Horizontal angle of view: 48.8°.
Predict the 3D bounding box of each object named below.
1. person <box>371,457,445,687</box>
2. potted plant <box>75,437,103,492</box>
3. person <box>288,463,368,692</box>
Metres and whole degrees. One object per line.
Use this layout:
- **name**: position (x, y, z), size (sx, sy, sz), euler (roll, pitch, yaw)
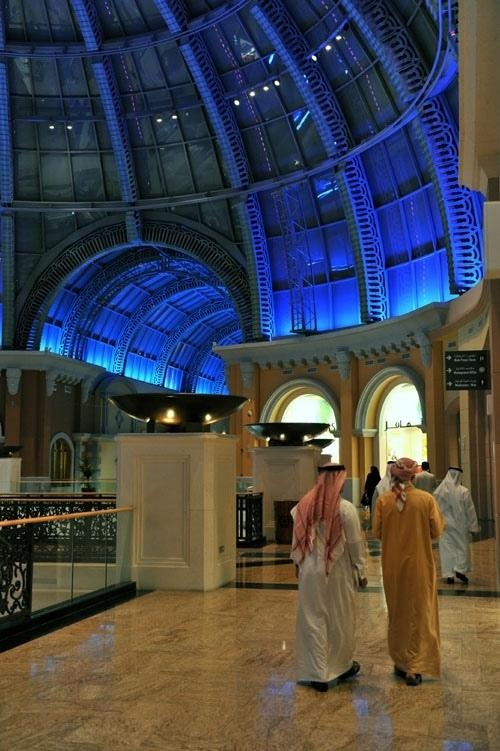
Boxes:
- **person**: position (0.988, 1.253, 3.503), size (0.419, 1.206, 0.388), euler (-4, -8, 22)
- **potted plant**: position (-6.987, 4.277, 23.658), size (0.764, 1.659, 0.860), euler (-11, -20, -5)
- **person**: position (0.482, 1.254, 3.529), size (0.554, 1.326, 0.437), euler (3, -9, -28)
